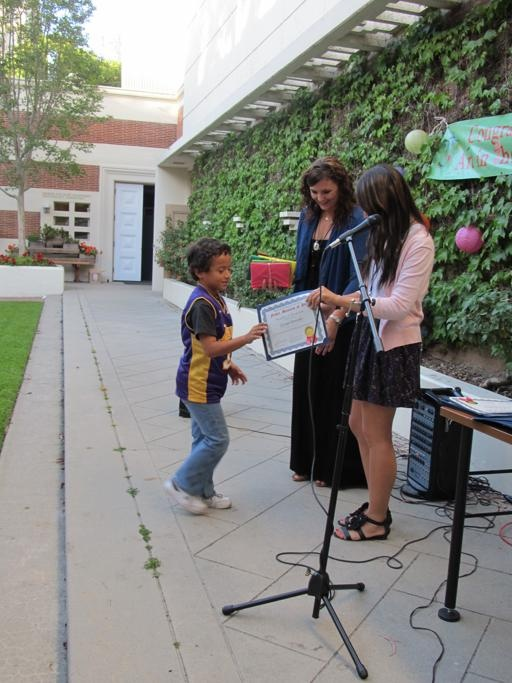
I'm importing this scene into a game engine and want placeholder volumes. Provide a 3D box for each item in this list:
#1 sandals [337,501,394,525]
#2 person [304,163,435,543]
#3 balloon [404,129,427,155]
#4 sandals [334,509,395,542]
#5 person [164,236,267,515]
[{"bbox_3d":[0.486,0.748,2.460,0.222,0.076,0.115,0,-2,1],"label":"sandals"},{"bbox_3d":[0.461,0.057,2.309,0.590,1.480,0.520,1,2,-9],"label":"person"},{"bbox_3d":[1.292,-1.620,4.443,0.144,0.199,0.207,-1,8,-14],"label":"balloon"},{"bbox_3d":[0.470,0.782,2.398,0.218,0.082,0.123,3,6,9],"label":"sandals"},{"bbox_3d":[-0.151,0.166,2.479,0.487,1.185,0.461,-1,4,-3],"label":"person"}]
